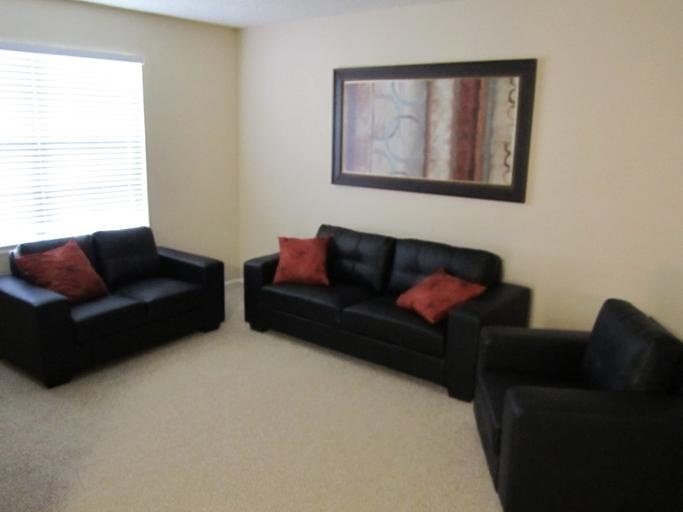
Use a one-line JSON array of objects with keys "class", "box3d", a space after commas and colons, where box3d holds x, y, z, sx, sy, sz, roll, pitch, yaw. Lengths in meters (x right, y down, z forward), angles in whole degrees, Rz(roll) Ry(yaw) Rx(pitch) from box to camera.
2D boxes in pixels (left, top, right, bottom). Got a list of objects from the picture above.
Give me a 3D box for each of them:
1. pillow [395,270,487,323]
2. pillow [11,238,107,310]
[{"class": "pillow", "box3d": [0.803, 0.299, 4.229, 0.576, 0.287, 0.465, -5, 18, -27]}, {"class": "pillow", "box3d": [-2.304, 0.126, 4.368, 0.561, 0.425, 0.470, 10, 18, 25]}]
